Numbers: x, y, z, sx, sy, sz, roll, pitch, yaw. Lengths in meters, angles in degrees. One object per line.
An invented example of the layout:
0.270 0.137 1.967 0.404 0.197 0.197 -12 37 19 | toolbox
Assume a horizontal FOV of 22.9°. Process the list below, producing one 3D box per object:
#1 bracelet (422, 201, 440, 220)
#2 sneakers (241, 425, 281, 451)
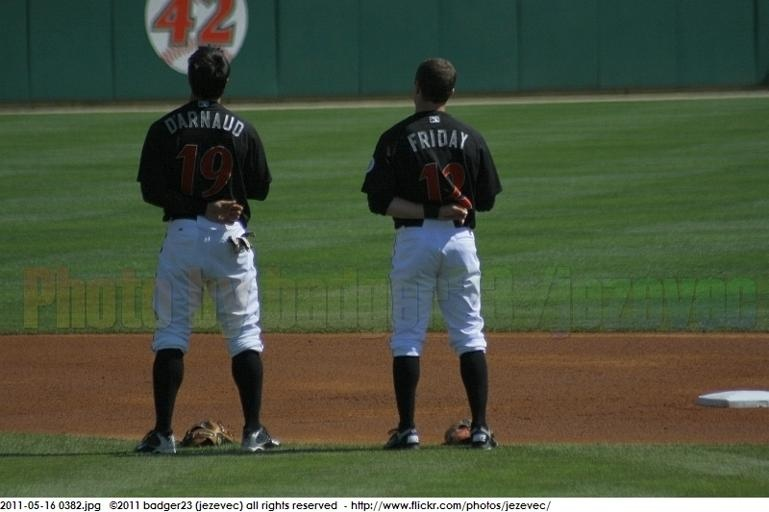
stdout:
0.647 -0.679 27.294 0.311 0.268 0.078 -1 -1 1 | bracelet
-1.858 2.666 27.220 0.248 0.265 0.673 0 -1 37 | sneakers
